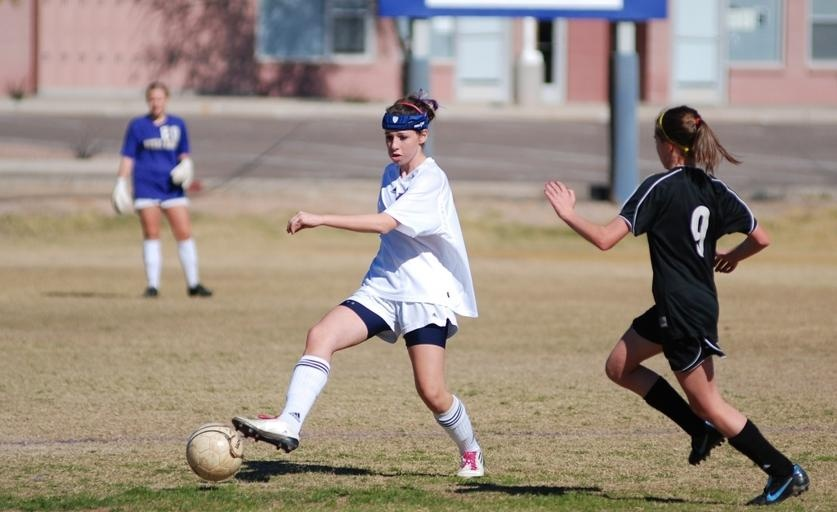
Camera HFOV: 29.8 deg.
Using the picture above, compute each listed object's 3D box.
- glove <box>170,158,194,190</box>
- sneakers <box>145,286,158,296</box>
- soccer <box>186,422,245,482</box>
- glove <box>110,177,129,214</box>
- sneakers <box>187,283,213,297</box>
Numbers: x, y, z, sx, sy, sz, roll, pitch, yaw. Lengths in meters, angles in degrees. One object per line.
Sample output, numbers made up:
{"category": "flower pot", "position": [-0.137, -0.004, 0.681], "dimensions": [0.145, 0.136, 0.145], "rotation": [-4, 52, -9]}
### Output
{"category": "glove", "position": [-2.688, -0.921, 17.734], "dimensions": [0.252, 0.360, 0.172], "rotation": [-3, 9, -14]}
{"category": "sneakers", "position": [-3.114, 0.419, 18.234], "dimensions": [0.088, 0.092, 0.140], "rotation": [2, -10, -11]}
{"category": "soccer", "position": [-1.841, 1.816, 14.379], "dimensions": [0.513, 0.489, 0.490], "rotation": [2, -33, -3]}
{"category": "glove", "position": [-3.391, -0.677, 17.812], "dimensions": [0.116, 0.362, 0.285], "rotation": [2, -6, 25]}
{"category": "sneakers", "position": [-2.565, 0.403, 18.401], "dimensions": [0.243, 0.098, 0.127], "rotation": [-2, 14, -23]}
